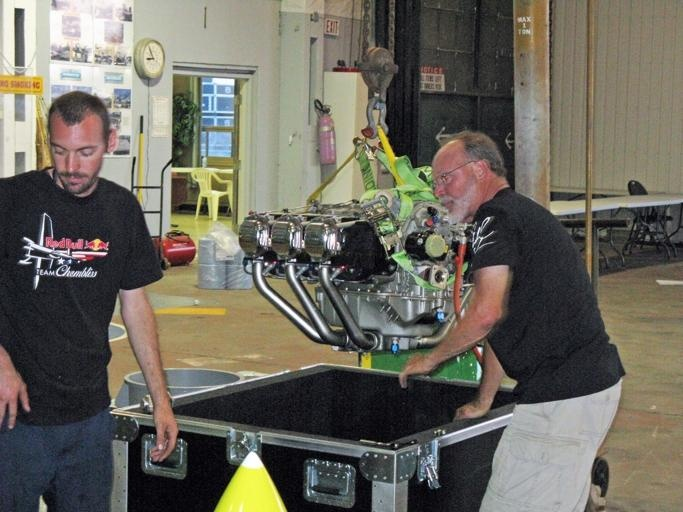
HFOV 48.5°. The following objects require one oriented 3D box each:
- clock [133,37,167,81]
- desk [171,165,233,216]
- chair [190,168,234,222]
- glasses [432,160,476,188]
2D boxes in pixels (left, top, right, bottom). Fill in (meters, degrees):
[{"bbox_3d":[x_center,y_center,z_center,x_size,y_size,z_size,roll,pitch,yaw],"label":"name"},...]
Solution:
[{"bbox_3d":[-2.550,-2.635,10.240,0.223,0.539,0.482,7,9,37],"label":"clock"},{"bbox_3d":[-3.111,-1.440,17.104,0.923,1.369,1.042,8,28,29],"label":"desk"},{"bbox_3d":[-2.880,-1.398,16.921,0.864,1.085,2.766,1,8,-10],"label":"chair"},{"bbox_3d":[0.389,-0.284,2.659,0.093,0.027,0.092,-31,1,-18],"label":"glasses"}]
